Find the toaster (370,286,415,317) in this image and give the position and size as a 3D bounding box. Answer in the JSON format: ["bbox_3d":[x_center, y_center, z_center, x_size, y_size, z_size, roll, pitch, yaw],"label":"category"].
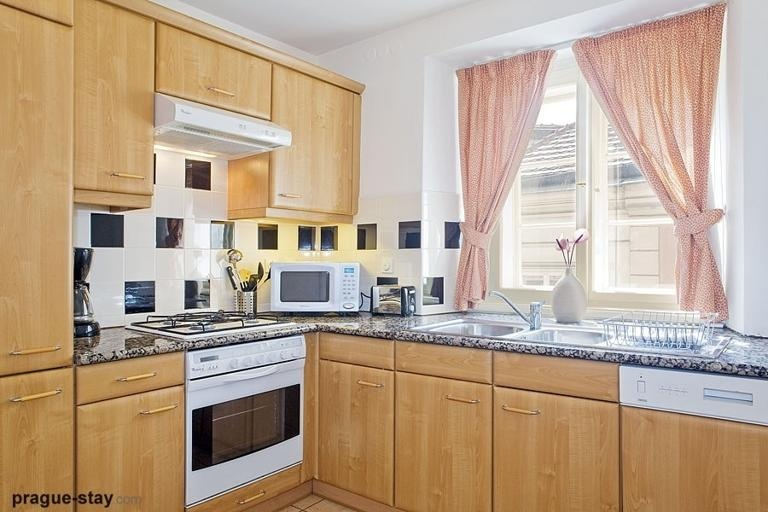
[{"bbox_3d":[0.058,0.289,3.657,0.337,0.222,0.191,-1,-4,28],"label":"toaster"}]

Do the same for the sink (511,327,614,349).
[{"bbox_3d":[1.019,0.453,3.092,0.246,0.089,0.205,-1,1,39],"label":"sink"}]

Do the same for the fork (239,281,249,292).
[{"bbox_3d":[-0.929,0.198,3.628,0.039,0.067,0.012,2,-34,-5],"label":"fork"}]

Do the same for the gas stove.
[{"bbox_3d":[-1.014,0.392,3.233,0.833,0.105,0.646,1,-3,-37],"label":"gas stove"}]

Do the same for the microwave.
[{"bbox_3d":[-0.454,0.211,3.615,0.630,0.370,0.327,-1,-7,6],"label":"microwave"}]

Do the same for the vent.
[{"bbox_3d":[-1.032,-0.773,3.320,0.778,0.223,0.554,1,-3,-44],"label":"vent"}]

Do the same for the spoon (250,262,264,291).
[{"bbox_3d":[-0.870,0.128,3.728,0.067,0.190,0.234,-1,-2,-5],"label":"spoon"}]

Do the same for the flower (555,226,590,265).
[{"bbox_3d":[1.205,-0.045,3.509,0.190,0.220,0.348,-2,-2,20],"label":"flower"}]

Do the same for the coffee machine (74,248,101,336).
[{"bbox_3d":[-1.631,0.197,3.010,0.114,0.475,0.320,0,-2,-28],"label":"coffee machine"}]
